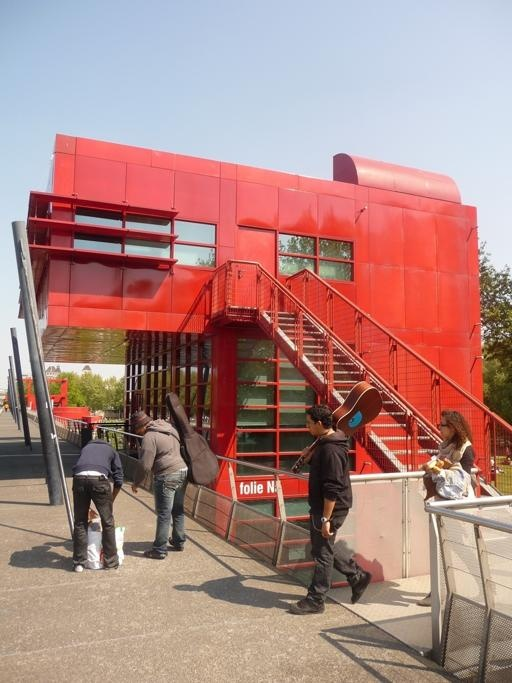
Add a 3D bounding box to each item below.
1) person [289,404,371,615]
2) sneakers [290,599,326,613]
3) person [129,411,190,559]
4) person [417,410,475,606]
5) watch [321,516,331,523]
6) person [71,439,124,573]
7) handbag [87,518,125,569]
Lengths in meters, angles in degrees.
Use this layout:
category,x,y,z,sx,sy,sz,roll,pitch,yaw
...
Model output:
category,x,y,z,sx,sy,sz,roll,pitch,yaw
person,0.646,1.463,5.003,0.653,1.815,0.834,-1,-3,11
sneakers,0.427,2.213,4.858,0.303,0.136,0.106,6,-18,-2
person,-1.111,1.647,6.586,0.521,1.670,1.169,-1,-3,17
person,1.768,1.087,5.358,0.458,0.895,0.506,-2,-3,28
watch,0.566,1.438,4.666,0.064,0.032,0.046,6,-4,-36
person,-1.687,1.733,6.126,0.496,1.318,0.537,0,-3,-16
handbag,-1.659,2.203,6.346,0.485,0.452,0.456,3,-12,-15
